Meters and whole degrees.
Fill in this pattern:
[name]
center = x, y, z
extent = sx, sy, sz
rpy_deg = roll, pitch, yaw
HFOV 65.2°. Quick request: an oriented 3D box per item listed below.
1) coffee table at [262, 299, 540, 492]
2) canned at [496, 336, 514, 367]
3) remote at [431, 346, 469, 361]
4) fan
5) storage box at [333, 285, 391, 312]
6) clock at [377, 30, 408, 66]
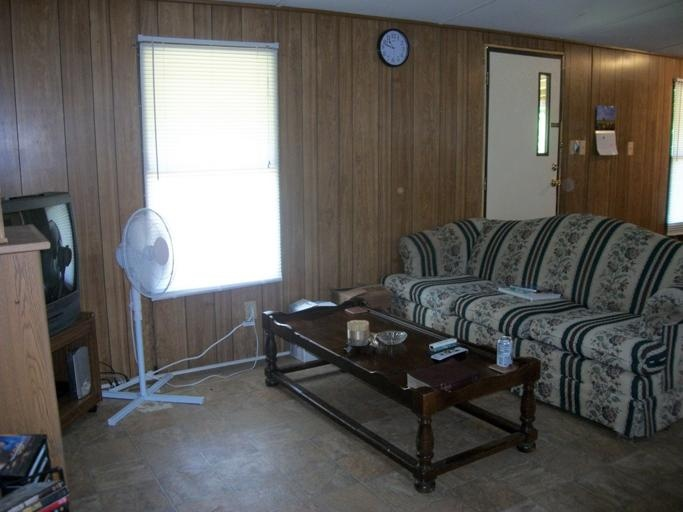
[coffee table]
center = 0.333, 0.768, 3.388
extent = 0.875, 0.635, 1.578
rpy_deg = -15, 16, -38
[canned]
center = 0.914, 0.531, 2.986
extent = 0.091, 0.162, 0.113
rpy_deg = -1, 14, 16
[remote]
center = 0.628, 0.536, 3.100
extent = 0.239, 0.039, 0.075
rpy_deg = -11, 20, -32
[fan]
center = -1.335, 0.317, 3.592
extent = 0.822, 1.331, 0.752
rpy_deg = 3, -4, -25
[storage box]
center = 0.194, 0.327, 4.458
extent = 0.280, 0.101, 0.285
rpy_deg = -6, 9, -39
[clock]
center = 0.439, -1.806, 4.668
extent = 0.321, 0.305, 0.072
rpy_deg = 7, -4, -35
